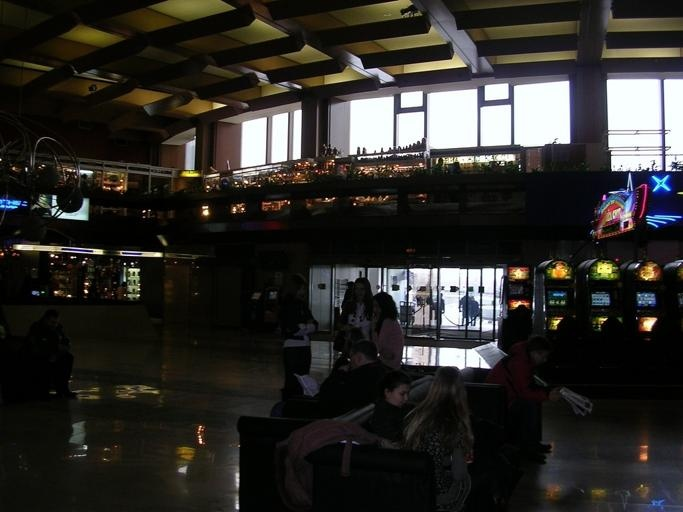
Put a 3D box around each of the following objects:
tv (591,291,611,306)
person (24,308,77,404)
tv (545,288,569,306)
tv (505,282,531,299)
[{"bbox_3d":[5.073,0.821,14.159,0.511,0.370,0.252,0,-1,20],"label":"tv"},{"bbox_3d":[-4.612,1.551,11.367,0.686,1.322,0.507,-2,9,-22],"label":"person"},{"bbox_3d":[4.343,0.882,14.701,0.601,0.441,0.301,3,-10,-1],"label":"tv"},{"bbox_3d":[4.153,0.814,16.814,0.544,0.364,0.226,4,9,19],"label":"tv"}]
